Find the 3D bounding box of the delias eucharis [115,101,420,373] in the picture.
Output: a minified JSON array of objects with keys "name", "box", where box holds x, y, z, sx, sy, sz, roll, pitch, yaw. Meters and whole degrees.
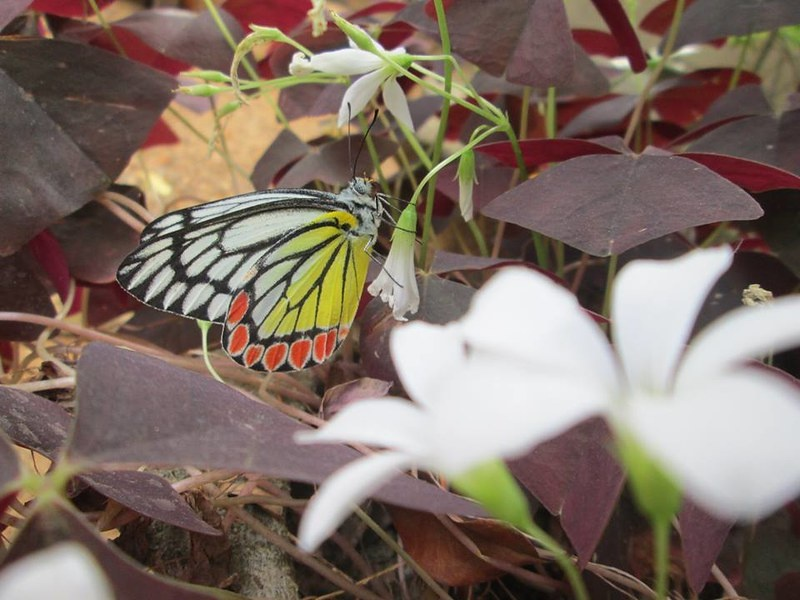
[{"name":"delias eucharis","box":[-0.150,-0.019,1.108,0.349,0.224,0.354,-36,11,-1]}]
